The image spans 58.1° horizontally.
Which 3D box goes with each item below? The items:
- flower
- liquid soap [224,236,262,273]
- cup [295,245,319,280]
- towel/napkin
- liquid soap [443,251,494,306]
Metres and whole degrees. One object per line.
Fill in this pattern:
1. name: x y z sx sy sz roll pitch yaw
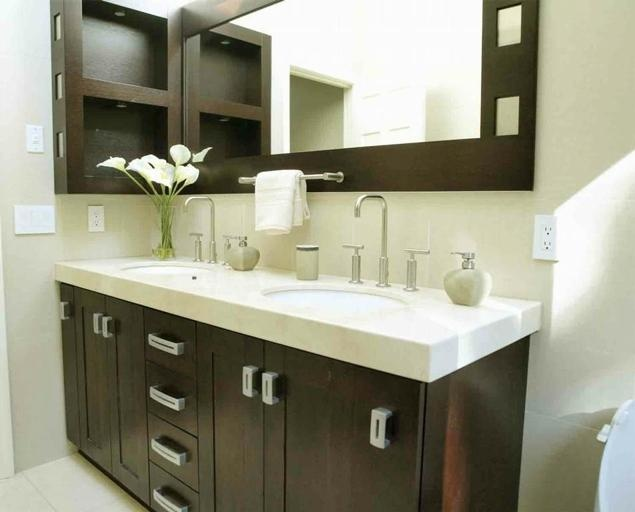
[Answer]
1. flower: -0.735 -0.249 2.648 0.416 0.496 0.449 -1 -3 31
2. liquid soap: -0.305 0.001 2.359 0.111 0.121 0.165 -2 2 -27
3. cup: -0.036 0.023 2.125 0.099 0.127 0.099 1 8 0
4. towel/napkin: -0.129 -0.207 2.156 0.197 0.241 0.124 4 12 29
5. liquid soap: 0.456 0.061 1.750 0.131 0.150 0.210 0 8 13
